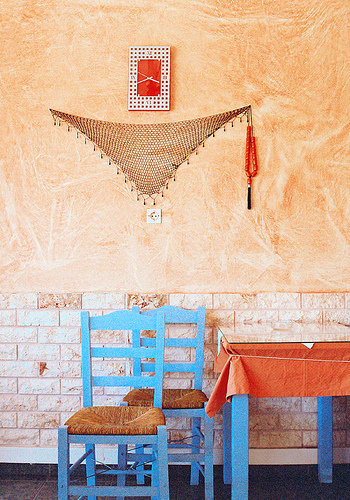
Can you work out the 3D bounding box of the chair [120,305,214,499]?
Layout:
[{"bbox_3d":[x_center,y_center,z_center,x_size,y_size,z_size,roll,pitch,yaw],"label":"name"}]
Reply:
[{"bbox_3d":[-0.032,0.730,4.292,0.446,0.956,0.703,0,11,1],"label":"chair"}]

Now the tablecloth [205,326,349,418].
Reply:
[{"bbox_3d":[0.477,0.589,3.986,0.642,0.335,0.315,2,11,10],"label":"tablecloth"}]
